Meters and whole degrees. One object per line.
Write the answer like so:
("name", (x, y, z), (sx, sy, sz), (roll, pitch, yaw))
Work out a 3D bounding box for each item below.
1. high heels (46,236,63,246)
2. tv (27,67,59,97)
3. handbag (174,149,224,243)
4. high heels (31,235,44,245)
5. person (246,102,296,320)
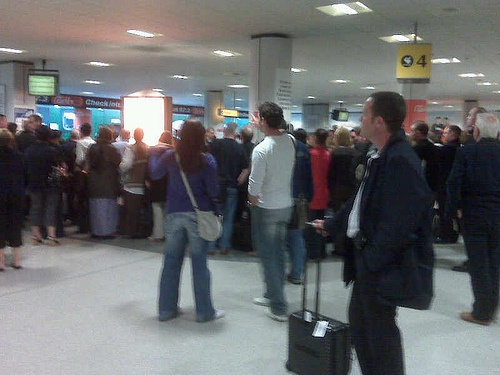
("high heels", (-3.184, 0.882, 7.900), (0.259, 0.102, 0.096), (31, -4, -37))
("tv", (-6.093, -3.065, 14.103), (1.138, 0.973, 0.604), (1, 3, -6))
("handbag", (-0.472, 0.074, 4.849), (0.294, 0.932, 0.173), (-19, 3, 30))
("high heels", (-3.545, 0.865, 8.017), (0.109, 0.096, 0.238), (-6, 7, -24))
("person", (0.220, 0.256, 5.002), (0.473, 2.245, 0.442), (1, 11, 3))
